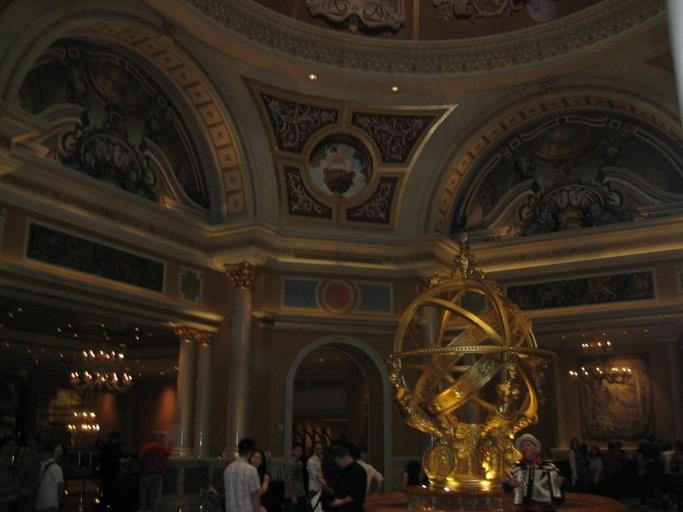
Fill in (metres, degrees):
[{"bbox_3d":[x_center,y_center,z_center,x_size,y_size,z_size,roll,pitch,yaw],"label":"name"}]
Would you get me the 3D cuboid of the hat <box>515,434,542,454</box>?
[{"bbox_3d":[2.065,2.060,7.481,0.191,0.224,0.477,-9,-25,23],"label":"hat"}]
